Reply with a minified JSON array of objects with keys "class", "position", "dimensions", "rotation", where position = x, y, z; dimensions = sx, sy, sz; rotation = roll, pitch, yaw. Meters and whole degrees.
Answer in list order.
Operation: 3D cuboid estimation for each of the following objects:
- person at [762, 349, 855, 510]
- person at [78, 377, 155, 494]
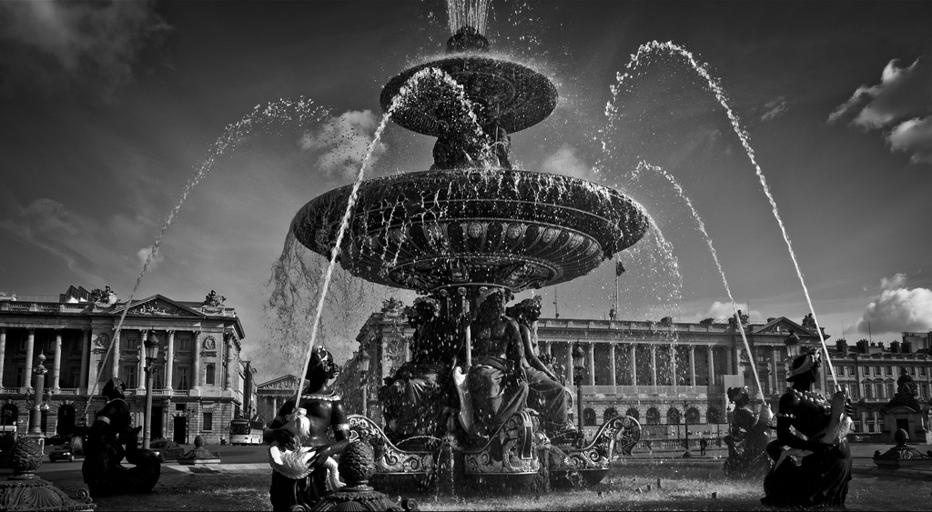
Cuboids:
[{"class":"person","position":[5.878,2.931,13.950],"dimensions":[1.441,2.612,0.783],"rotation":[-5,-16,20]},{"class":"person","position":[-6.821,3.551,15.940],"dimensions":[0.727,2.203,1.258],"rotation":[-11,-19,38]}]
